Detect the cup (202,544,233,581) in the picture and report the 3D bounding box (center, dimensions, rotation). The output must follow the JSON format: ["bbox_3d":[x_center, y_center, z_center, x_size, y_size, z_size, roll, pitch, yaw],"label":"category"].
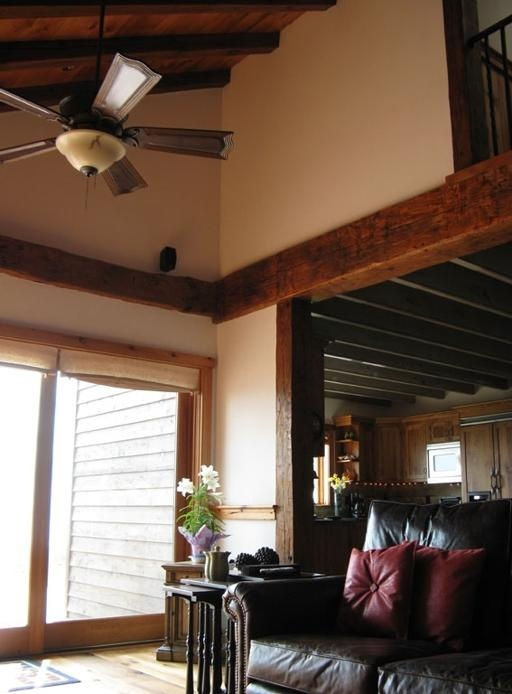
[{"bbox_3d":[-0.192,1.048,2.918,0.145,0.152,0.146,-1,-13,0],"label":"cup"}]

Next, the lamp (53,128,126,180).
[{"bbox_3d":[-0.574,-0.691,2.121,0.172,0.082,0.172,-3,-21,-2],"label":"lamp"}]

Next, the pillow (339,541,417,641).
[{"bbox_3d":[0.445,0.882,2.149,0.098,0.308,0.321,24,-25,-22],"label":"pillow"}]

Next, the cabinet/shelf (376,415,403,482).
[{"bbox_3d":[1.921,1.488,8.693,0.412,0.940,0.117,-2,-3,7],"label":"cabinet/shelf"}]

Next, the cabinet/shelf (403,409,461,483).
[{"bbox_3d":[2.367,1.438,8.543,1.014,0.918,0.392,0,-1,-19],"label":"cabinet/shelf"}]

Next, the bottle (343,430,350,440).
[{"bbox_3d":[1.302,1.267,8.664,0.096,0.132,0.097,6,-15,2],"label":"bottle"}]

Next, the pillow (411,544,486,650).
[{"bbox_3d":[0.645,0.855,2.089,0.184,0.292,0.332,-9,-10,-23],"label":"pillow"}]

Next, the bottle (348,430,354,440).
[{"bbox_3d":[1.362,1.256,8.580,0.077,0.116,0.037,3,-10,-10],"label":"bottle"}]

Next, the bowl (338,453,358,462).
[{"bbox_3d":[1.290,1.575,8.521,0.176,0.101,0.269,9,-13,-39],"label":"bowl"}]
